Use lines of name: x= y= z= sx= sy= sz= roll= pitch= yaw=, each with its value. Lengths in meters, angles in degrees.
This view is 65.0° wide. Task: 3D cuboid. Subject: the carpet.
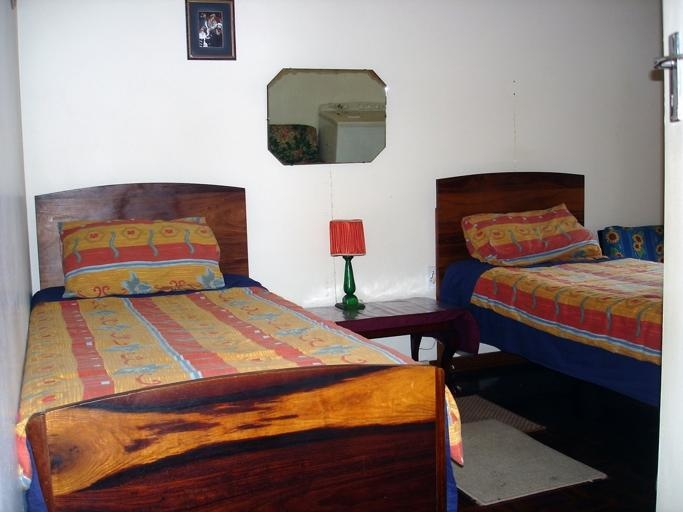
carpet: x=0.790 y=0.987 z=2.752 sx=0.695 sy=0.027 sz=0.884 roll=-4 pitch=8 yaw=-13

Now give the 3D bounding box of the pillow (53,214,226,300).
pillow: x=-1.177 y=0.097 z=3.187 sx=0.771 sy=0.453 sz=0.202 roll=-2 pitch=-18 yaw=-19

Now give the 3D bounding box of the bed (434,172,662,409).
bed: x=1.518 y=0.017 z=3.247 sx=1.169 sy=1.078 sz=1.730 roll=-5 pitch=8 yaw=-22

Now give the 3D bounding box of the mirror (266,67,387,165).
mirror: x=-0.138 y=-0.929 z=3.513 sx=0.719 sy=0.486 sz=0.016 roll=-2 pitch=5 yaw=-22

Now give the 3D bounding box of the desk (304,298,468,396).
desk: x=0.407 y=0.586 z=3.617 sx=0.739 sy=0.468 sz=0.963 roll=4 pitch=0 yaw=-2
